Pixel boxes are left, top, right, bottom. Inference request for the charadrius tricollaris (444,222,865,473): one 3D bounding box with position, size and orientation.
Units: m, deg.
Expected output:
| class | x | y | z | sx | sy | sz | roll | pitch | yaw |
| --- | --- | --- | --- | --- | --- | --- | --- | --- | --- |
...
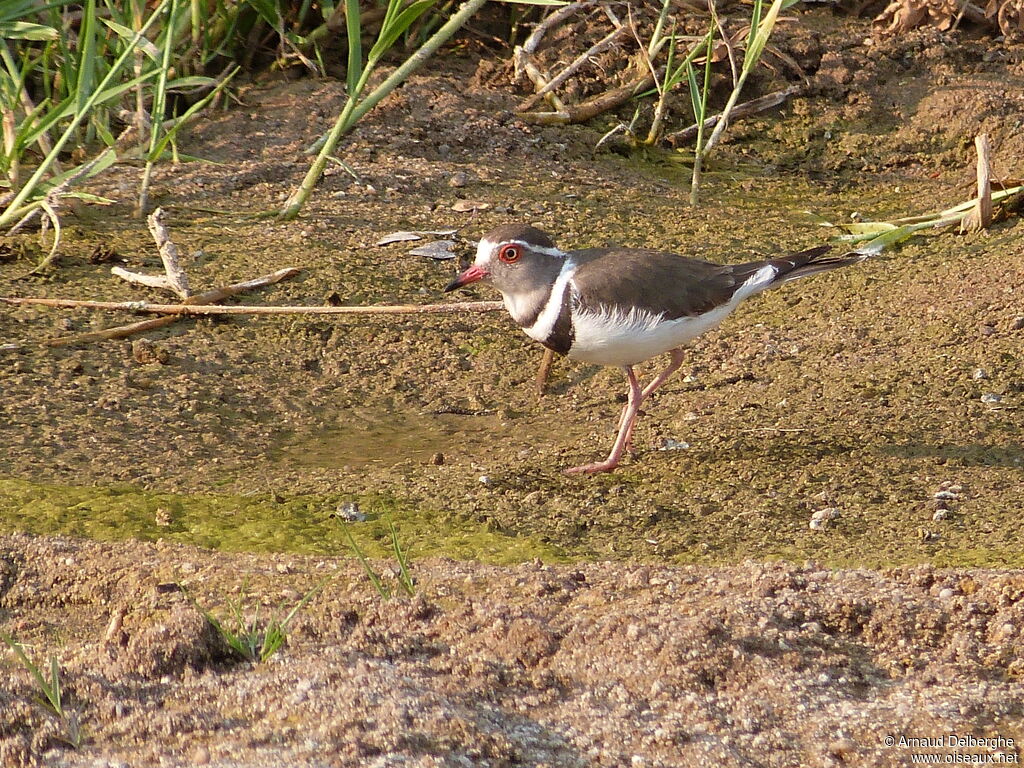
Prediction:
| class | x | y | z | sx | sy | sz | roll | pitch | yaw |
| --- | --- | --- | --- | --- | --- | --- | --- | --- | --- |
| charadrius tricollaris | 0.781 | -0.320 | 6.896 | 2.544 | 1.048 | 0.686 | -9 | 22 | -25 |
